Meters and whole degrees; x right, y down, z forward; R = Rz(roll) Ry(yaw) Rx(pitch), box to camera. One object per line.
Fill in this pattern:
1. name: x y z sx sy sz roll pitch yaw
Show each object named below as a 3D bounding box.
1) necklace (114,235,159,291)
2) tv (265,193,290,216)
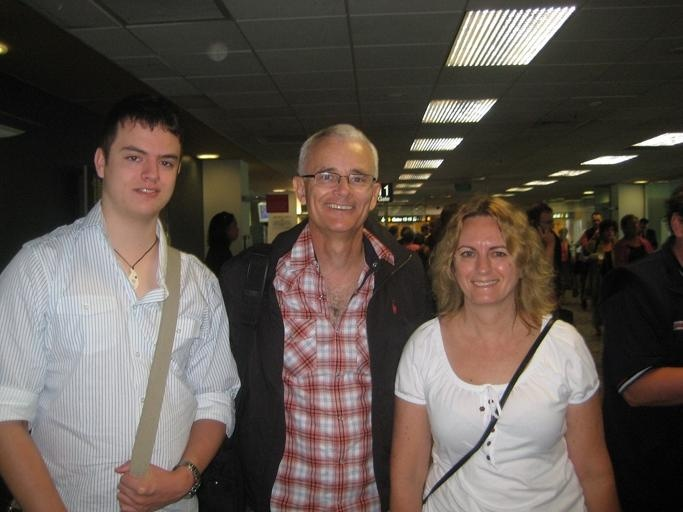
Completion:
1. necklace: -0.966 0.038 2.496 0.210 0.273 0.029 -8 -27 -13
2. tv: -2.141 -1.745 18.069 0.643 0.463 0.680 0 5 2
